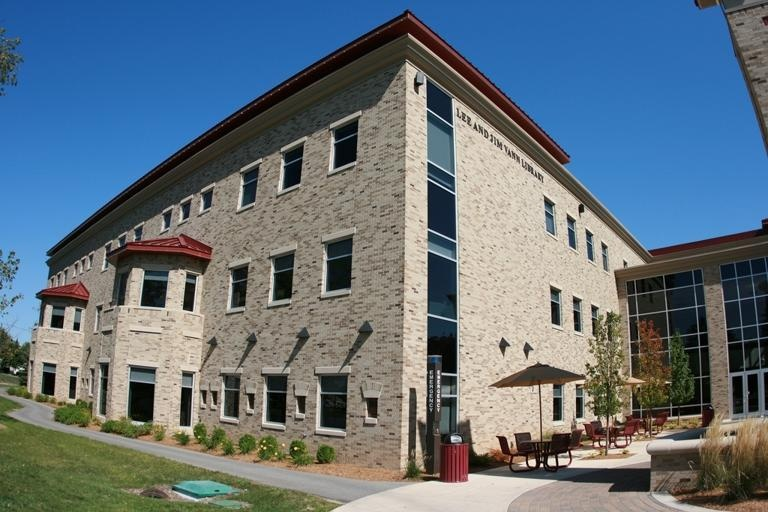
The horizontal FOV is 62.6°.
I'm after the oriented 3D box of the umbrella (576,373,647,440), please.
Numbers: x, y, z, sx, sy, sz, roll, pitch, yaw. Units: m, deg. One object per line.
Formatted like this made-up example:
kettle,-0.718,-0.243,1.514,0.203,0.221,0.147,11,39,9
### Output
umbrella,13.364,9.494,38.648,4.631,4.032,4.546,-1,-7,14
